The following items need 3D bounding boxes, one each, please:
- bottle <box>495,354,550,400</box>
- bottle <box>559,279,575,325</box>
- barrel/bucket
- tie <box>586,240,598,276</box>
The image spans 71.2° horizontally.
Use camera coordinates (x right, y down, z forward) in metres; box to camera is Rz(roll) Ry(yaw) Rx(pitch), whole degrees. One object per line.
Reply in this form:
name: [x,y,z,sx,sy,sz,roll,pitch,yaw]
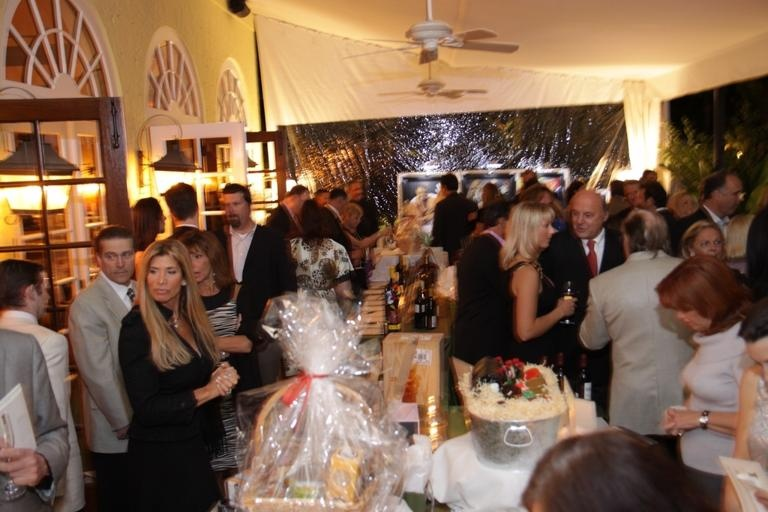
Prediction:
bottle: [0.590,0.515,2.301,0.135,0.068,0.180,-4,7,-22]
bottle: [1.180,0.275,3.422,0.087,0.303,0.504,-1,9,19]
barrel/bucket: [0.539,0.747,2.292,0.370,0.191,0.403,-1,-7,0]
tie: [1.499,0.007,3.860,0.072,0.295,0.041,-2,-24,10]
